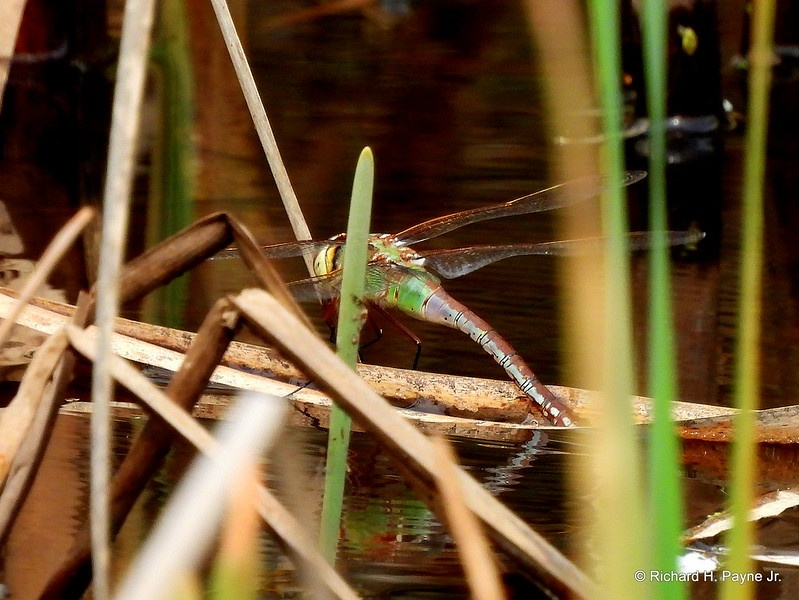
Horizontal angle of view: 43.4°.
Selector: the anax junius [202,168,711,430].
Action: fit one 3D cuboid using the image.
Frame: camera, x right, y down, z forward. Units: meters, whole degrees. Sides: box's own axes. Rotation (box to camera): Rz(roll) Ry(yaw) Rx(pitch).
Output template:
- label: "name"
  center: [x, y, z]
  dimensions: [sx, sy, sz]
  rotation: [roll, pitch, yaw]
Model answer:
- label: "anax junius"
  center: [0.027, -0.014, 1.178]
  dimensions: [0.513, 0.157, 0.346]
  rotation: [-1, 2, -31]
